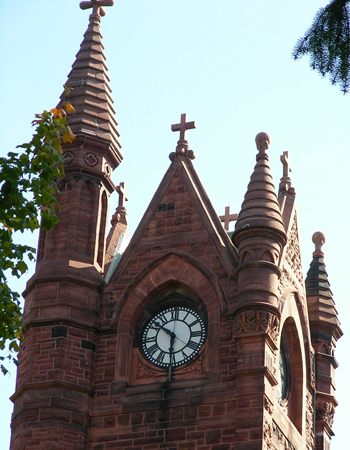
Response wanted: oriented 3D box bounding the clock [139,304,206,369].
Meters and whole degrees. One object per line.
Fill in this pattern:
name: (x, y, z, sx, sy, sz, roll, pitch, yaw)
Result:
clock: (0.065, 2.259, 25.313, 1.559, 1.600, 0.118, -2, -45, 30)
